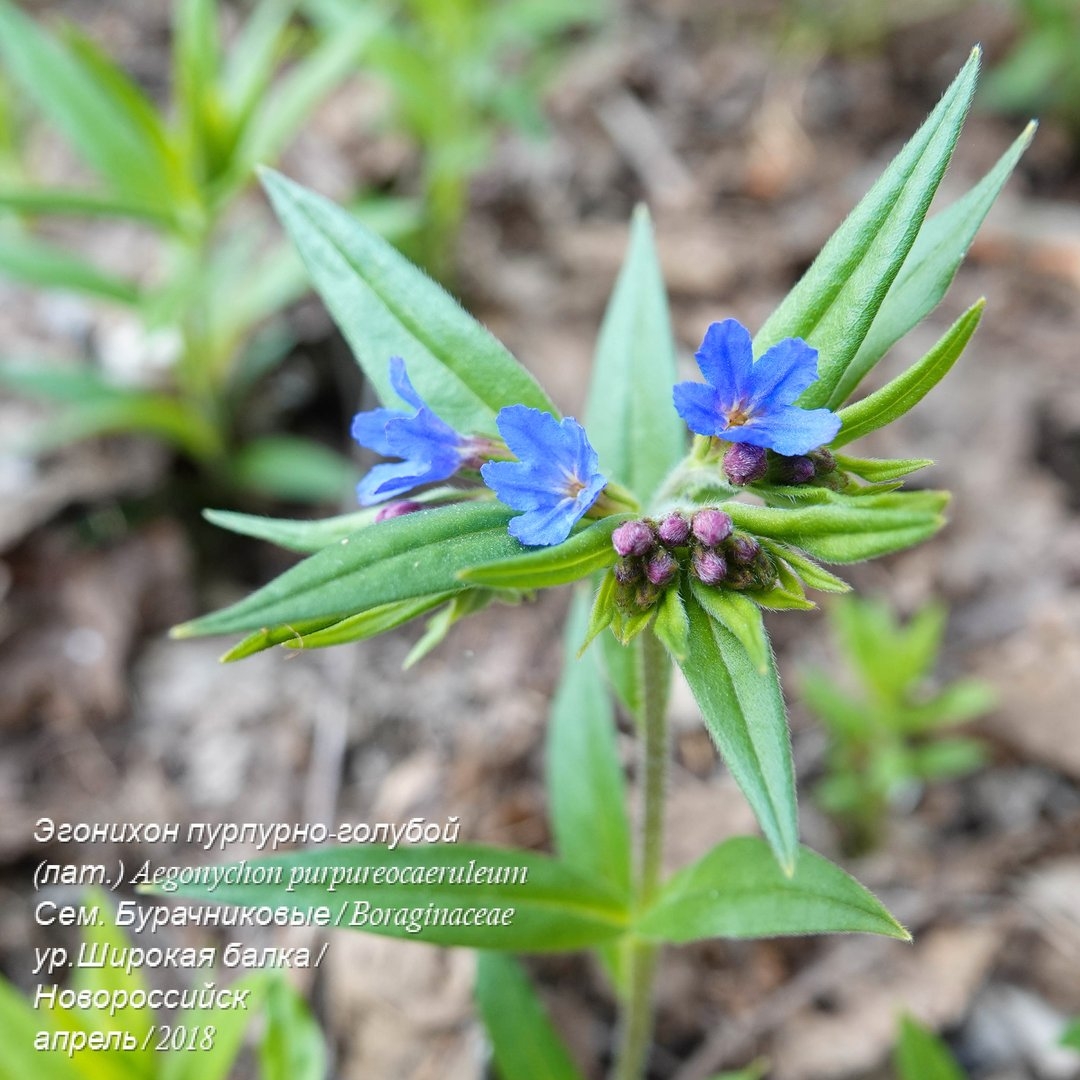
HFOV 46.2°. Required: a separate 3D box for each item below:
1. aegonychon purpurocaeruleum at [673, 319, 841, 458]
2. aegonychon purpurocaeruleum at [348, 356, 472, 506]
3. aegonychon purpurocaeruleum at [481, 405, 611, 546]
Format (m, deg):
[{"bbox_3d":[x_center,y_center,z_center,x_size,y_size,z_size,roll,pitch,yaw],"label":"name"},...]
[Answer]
[{"bbox_3d":[0.525,-0.356,2.966,0.383,0.219,0.249,17,66,7],"label":"aegonychon purpurocaeruleum"},{"bbox_3d":[-0.281,-0.281,3.167,0.303,0.346,0.133,-22,93,-35],"label":"aegonychon purpurocaeruleum"},{"bbox_3d":[0.085,-0.202,3.069,0.364,0.404,0.176,-4,66,-13],"label":"aegonychon purpurocaeruleum"}]
